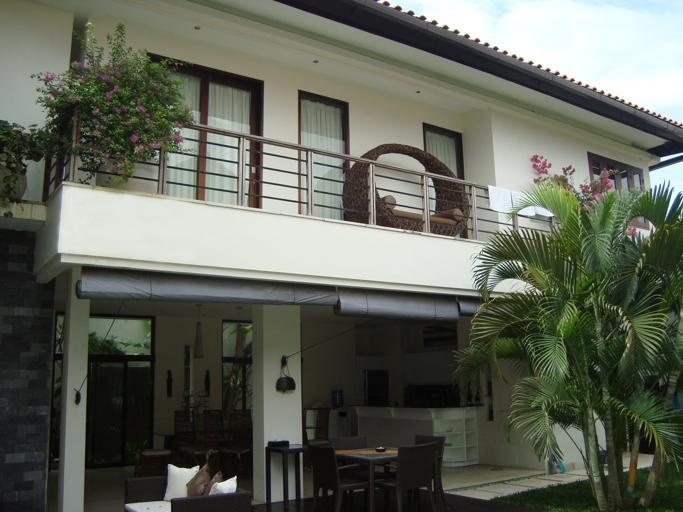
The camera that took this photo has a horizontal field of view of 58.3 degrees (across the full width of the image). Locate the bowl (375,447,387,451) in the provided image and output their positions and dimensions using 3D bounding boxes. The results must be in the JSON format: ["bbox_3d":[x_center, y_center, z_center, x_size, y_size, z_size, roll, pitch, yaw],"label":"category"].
[{"bbox_3d":[0.643,3.147,9.930,0.164,0.061,0.223,0,-13,1],"label":"bowl"}]

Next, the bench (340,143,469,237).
[{"bbox_3d":[1.350,-1.227,12.005,2.722,2.147,1.206,9,-19,-32],"label":"bench"}]

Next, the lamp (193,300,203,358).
[{"bbox_3d":[-3.464,1.911,14.906,0.288,1.119,2.610,3,-13,-13],"label":"lamp"}]

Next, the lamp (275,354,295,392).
[{"bbox_3d":[-0.966,2.064,10.753,0.372,0.647,0.123,4,-12,-18],"label":"lamp"}]

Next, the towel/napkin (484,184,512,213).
[{"bbox_3d":[3.050,-1.115,11.963,0.750,0.566,0.112,6,-10,-36],"label":"towel/napkin"}]

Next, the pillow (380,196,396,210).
[{"bbox_3d":[0.901,-1.012,11.324,0.179,0.315,0.333,7,4,-1],"label":"pillow"}]
